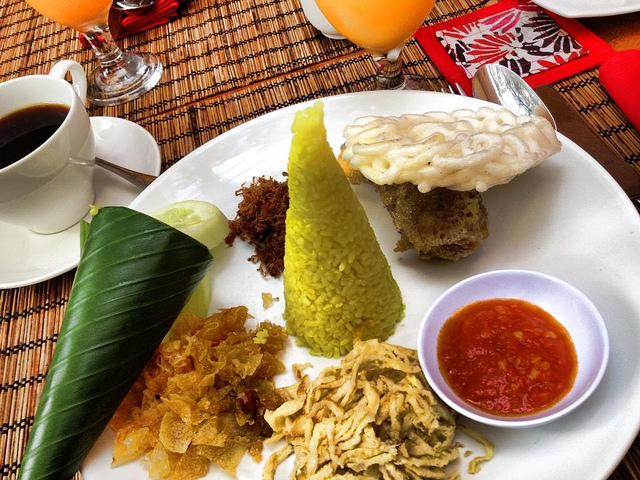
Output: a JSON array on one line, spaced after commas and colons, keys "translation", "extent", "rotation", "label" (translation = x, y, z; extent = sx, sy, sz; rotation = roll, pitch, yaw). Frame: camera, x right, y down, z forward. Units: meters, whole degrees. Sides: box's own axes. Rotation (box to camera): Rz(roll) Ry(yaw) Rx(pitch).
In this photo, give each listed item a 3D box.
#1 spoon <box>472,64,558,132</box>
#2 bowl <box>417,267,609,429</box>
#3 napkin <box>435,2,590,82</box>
[{"translation": [0.561, -0.445, 1.569], "extent": [0.175, 0.068, 0.281], "rotation": [-17, 71, -20], "label": "spoon"}, {"translation": [0.433, 0.233, 1.195], "extent": [0.403, 0.166, 0.369], "rotation": [-2, 72, 5], "label": "bowl"}, {"translation": [0.650, -0.626, 1.755], "extent": [0.367, 0.016, 0.317], "rotation": [-26, 56, -7], "label": "napkin"}]
